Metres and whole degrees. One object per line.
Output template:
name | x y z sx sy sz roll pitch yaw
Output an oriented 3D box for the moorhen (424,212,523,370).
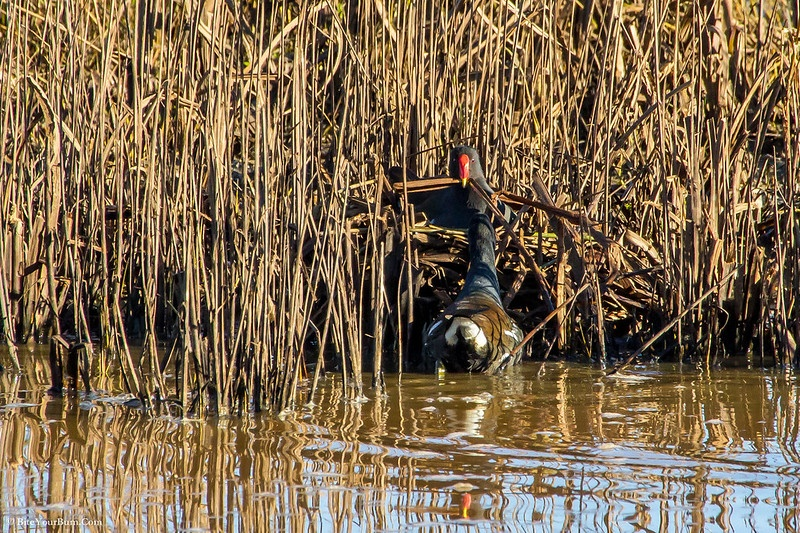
moorhen | 0.460 0.230 8.647 0.483 1.045 1.308 4 6 6
